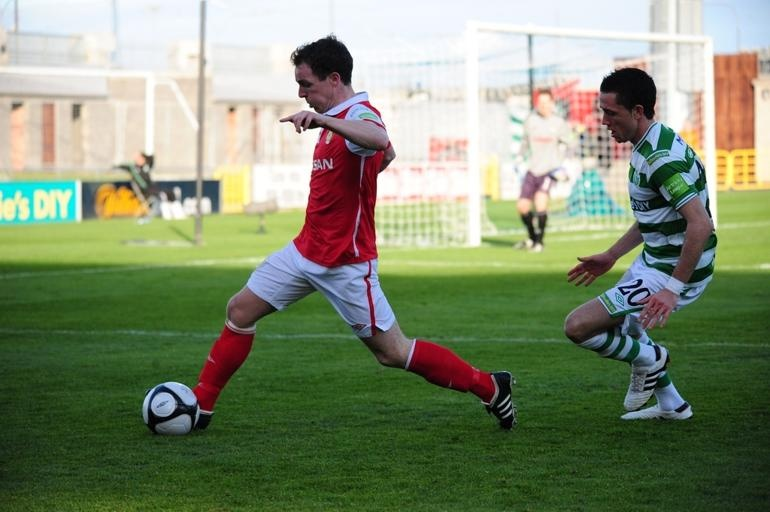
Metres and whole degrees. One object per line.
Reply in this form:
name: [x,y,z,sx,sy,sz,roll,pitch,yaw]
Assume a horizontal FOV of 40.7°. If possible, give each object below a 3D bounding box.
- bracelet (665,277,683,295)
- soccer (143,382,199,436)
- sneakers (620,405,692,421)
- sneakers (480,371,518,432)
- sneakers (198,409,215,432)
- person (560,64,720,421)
bracelet: [1.944,0.201,6.985,0.114,0.117,0.091,27,62,37]
soccer: [-1.486,1.080,7.228,0.358,0.366,0.342,18,-16,-16]
sneakers: [1.928,1.114,7.451,0.500,0.161,0.183,1,-2,5]
sneakers: [0.829,0.991,7.239,0.154,0.460,0.235,6,24,45]
sneakers: [-1.270,1.148,7.233,0.127,0.120,0.101,1,11,-25]
person: [1.776,-0.058,7.243,0.995,2.476,0.688,-1,5,21]
